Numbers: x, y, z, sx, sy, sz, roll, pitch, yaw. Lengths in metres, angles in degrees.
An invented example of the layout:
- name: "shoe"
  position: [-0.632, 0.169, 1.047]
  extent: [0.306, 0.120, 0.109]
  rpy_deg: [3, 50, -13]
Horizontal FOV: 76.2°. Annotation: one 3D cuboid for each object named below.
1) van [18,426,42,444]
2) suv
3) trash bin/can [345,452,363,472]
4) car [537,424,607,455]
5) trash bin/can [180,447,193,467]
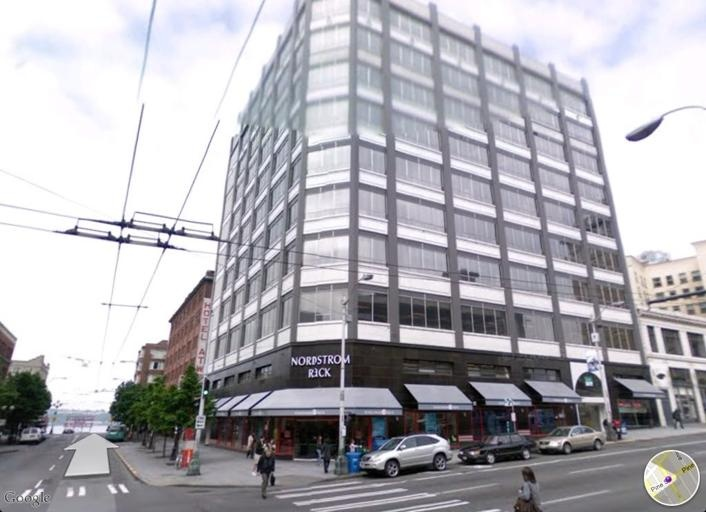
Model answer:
- name: "van"
  position: [-47.355, 26.377, 66.253]
  extent: [3.180, 2.016, 2.205]
  rpy_deg: [-19, -29, 38]
- name: "suv"
  position: [3.053, 11.880, 27.025]
  extent: [5.144, 2.070, 2.340]
  rpy_deg: [10, -25, -27]
- name: "trash bin/can"
  position: [0.028, 12.431, 27.129]
  extent: [1.035, 1.096, 1.021]
  rpy_deg: [-2, -13, 5]
- name: "car"
  position: [15.343, 12.999, 31.933]
  extent: [4.765, 1.776, 1.657]
  rpy_deg: [10, -25, -24]
- name: "trash bin/can"
  position: [-11.669, 14.087, 31.397]
  extent: [0.626, 1.274, 1.115]
  rpy_deg: [14, -26, -29]
